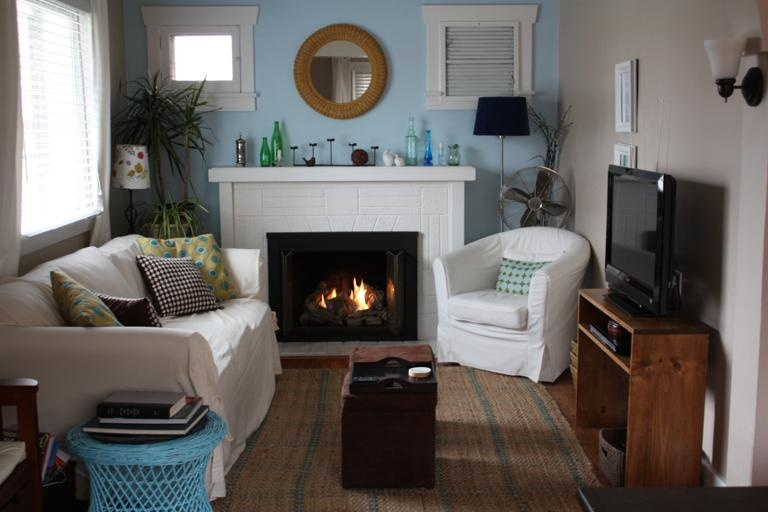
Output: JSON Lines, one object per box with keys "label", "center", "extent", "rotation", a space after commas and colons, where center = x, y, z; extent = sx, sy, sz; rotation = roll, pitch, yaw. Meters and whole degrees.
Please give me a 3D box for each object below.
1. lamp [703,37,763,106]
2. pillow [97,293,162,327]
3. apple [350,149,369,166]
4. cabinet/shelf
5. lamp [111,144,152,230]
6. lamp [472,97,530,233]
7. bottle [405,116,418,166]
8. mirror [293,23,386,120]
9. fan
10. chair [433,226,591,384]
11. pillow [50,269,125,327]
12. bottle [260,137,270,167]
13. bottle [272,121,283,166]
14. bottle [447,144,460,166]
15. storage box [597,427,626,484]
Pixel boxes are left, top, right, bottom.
{"label": "lamp", "center": [1.616, -0.846, 2.621], "extent": [0.217, 0.307, 0.199], "rotation": [-2, 14, -7]}
{"label": "pillow", "center": [-1.402, 0.307, 3.137], "extent": [0.215, 0.066, 0.213], "rotation": [9, 25, -34]}
{"label": "apple", "center": [-0.224, -0.869, 5.092], "extent": [0.144, 0.143, 0.139], "rotation": [1, -2, 32]}
{"label": "cabinet/shelf", "center": [1.397, 0.705, 3.052], "extent": [0.345, 0.865, 1.000], "rotation": [1, 3, 3]}
{"label": "lamp", "center": [-2.116, -0.553, 4.783], "extent": [0.291, 0.777, 0.581], "rotation": [-6, 15, -22]}
{"label": "lamp", "center": [1.088, -0.943, 5.237], "extent": [0.469, 1.210, 0.448], "rotation": [2, 48, 15]}
{"label": "bottle", "center": [0.238, -1.032, 5.084], "extent": [0.116, 0.420, 0.206], "rotation": [0, 14, 2]}
{"label": "mirror", "center": [-0.404, -1.685, 5.071], "extent": [0.761, 0.809, 0.064], "rotation": [2, 5, -1]}
{"label": "fan", "center": [1.336, -0.467, 5.035], "extent": [0.587, 0.693, 0.294], "rotation": [3, 23, 17]}
{"label": "chair", "center": [1.024, 0.316, 4.620], "extent": [1.127, 1.084, 1.109], "rotation": [3, 8, 26]}
{"label": "pillow", "center": [-1.575, 0.260, 2.980], "extent": [0.245, 0.229, 0.507], "rotation": [-10, 32, -42]}
{"label": "bottle", "center": [-1.067, -0.929, 5.059], "extent": [0.108, 0.248, 0.222], "rotation": [-3, 14, -12]}
{"label": "bottle", "center": [-0.962, -1.005, 5.081], "extent": [0.107, 0.381, 0.191], "rotation": [-3, 14, -8]}
{"label": "bottle", "center": [0.617, -0.905, 5.067], "extent": [0.103, 0.183, 0.258], "rotation": [1, 14, 6]}
{"label": "storage box", "center": [1.243, 1.094, 3.118], "extent": [0.199, 0.178, 0.274], "rotation": [0, 6, 13]}
